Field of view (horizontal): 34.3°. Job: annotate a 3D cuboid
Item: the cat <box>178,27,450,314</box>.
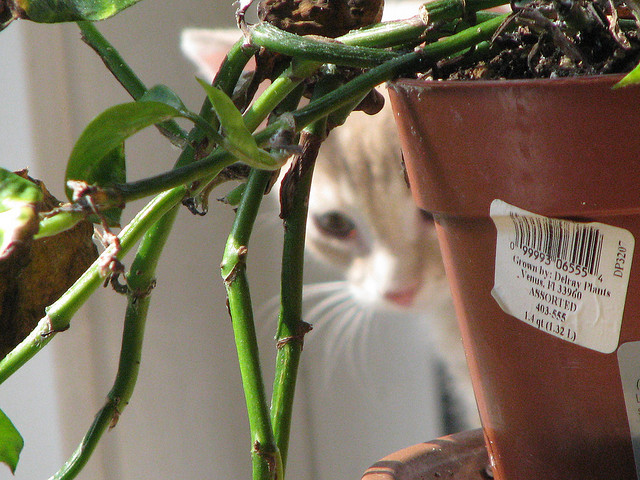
[{"bbox_3d":[0.011,-0.076,1.448,0.196,0.345,0.427,-16,16,9],"label":"cat"}]
